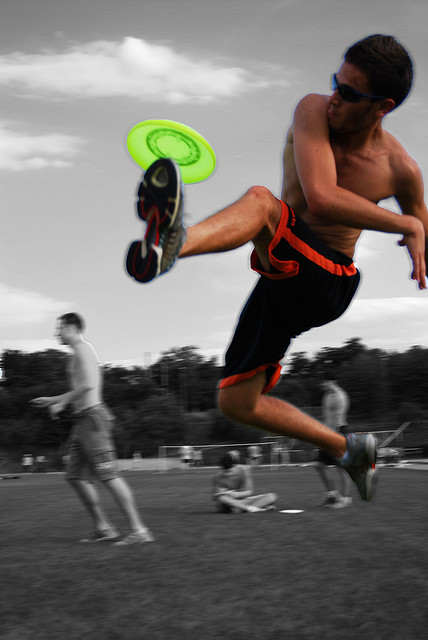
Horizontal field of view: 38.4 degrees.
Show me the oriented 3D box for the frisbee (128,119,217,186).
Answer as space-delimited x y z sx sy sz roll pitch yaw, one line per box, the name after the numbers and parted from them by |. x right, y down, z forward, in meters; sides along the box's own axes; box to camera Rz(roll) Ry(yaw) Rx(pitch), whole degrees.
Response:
-0.216 -0.807 2.937 0.506 0.100 0.464 0 5 4 | frisbee
